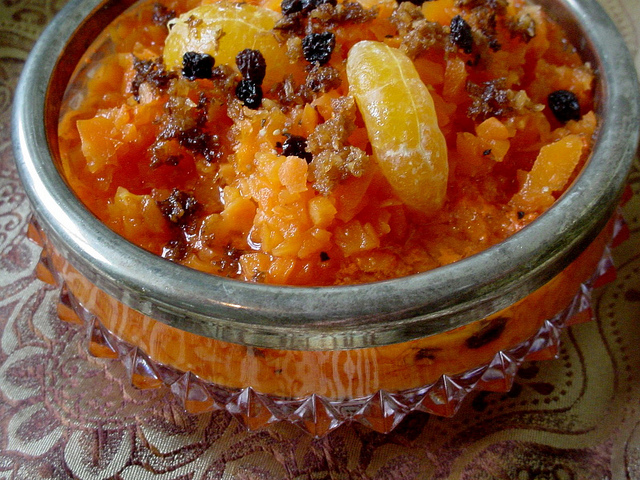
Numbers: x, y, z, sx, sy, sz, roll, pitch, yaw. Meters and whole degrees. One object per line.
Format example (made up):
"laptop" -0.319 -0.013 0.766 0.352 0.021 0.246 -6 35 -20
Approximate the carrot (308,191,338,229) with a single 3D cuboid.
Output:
"carrot" 0.005 -0.076 1.715 0.041 0.063 0.070 -33 74 -36

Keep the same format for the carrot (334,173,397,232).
"carrot" 0.114 -0.095 1.794 0.153 0.144 0.059 25 3 -12

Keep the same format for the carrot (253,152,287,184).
"carrot" -0.132 -0.188 1.756 0.076 0.036 0.097 -38 40 -1

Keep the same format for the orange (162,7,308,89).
"orange" -0.248 -0.535 2.032 0.356 0.102 0.236 8 50 4

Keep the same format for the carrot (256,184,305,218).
"carrot" -0.111 -0.102 1.738 0.099 0.083 0.033 14 14 23

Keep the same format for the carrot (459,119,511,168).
"carrot" 0.431 -0.255 1.838 0.138 0.132 0.036 -31 -11 -3
